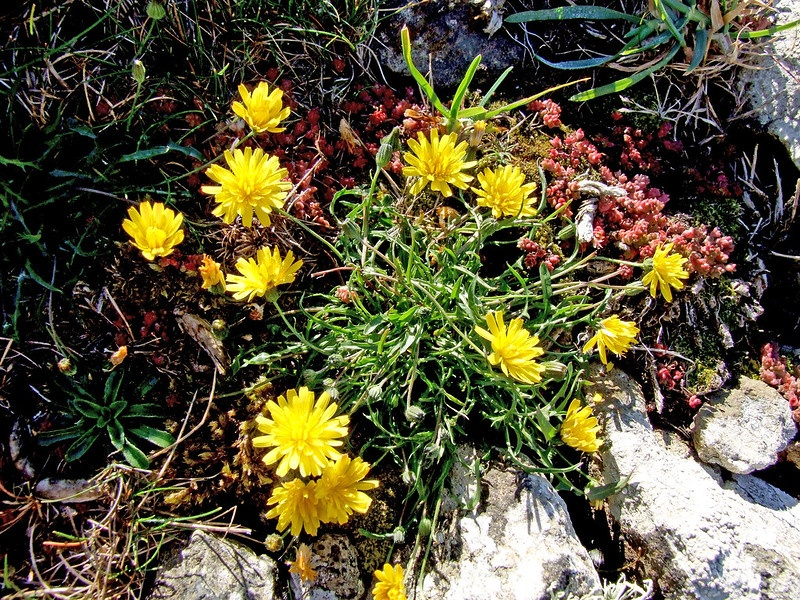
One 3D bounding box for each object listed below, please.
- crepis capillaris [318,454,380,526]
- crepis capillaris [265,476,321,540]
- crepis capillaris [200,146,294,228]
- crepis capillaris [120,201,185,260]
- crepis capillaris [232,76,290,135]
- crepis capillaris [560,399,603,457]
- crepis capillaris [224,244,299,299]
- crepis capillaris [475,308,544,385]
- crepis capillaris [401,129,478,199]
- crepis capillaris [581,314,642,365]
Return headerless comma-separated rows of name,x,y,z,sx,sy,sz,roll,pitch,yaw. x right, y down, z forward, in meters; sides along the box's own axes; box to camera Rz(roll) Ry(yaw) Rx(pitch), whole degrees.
crepis capillaris,-0.288,0.789,2.758,0.324,0.359,0.172,-9,99,-16
crepis capillaris,-0.450,0.875,2.764,0.249,0.116,0.251,31,95,-14
crepis capillaris,-0.655,-0.558,2.755,0.343,0.398,0.164,-5,116,-36
crepis capillaris,-1.094,-0.334,2.817,0.237,0.137,0.234,-43,78,-13
crepis capillaris,-0.620,-0.859,2.860,0.273,0.147,0.287,3,87,-28
crepis capillaris,0.858,0.604,3.023,0.234,0.119,0.239,-25,99,-42
crepis capillaris,-0.582,-0.111,2.806,0.244,0.260,0.120,16,70,5
crepis capillaris,0.461,0.191,2.774,0.302,0.122,0.314,39,46,-16
crepis capillaris,0.179,-0.662,2.950,0.294,0.319,0.130,6,64,22
crepis capillaris,1.003,0.169,3.036,0.110,0.249,0.255,32,86,29
